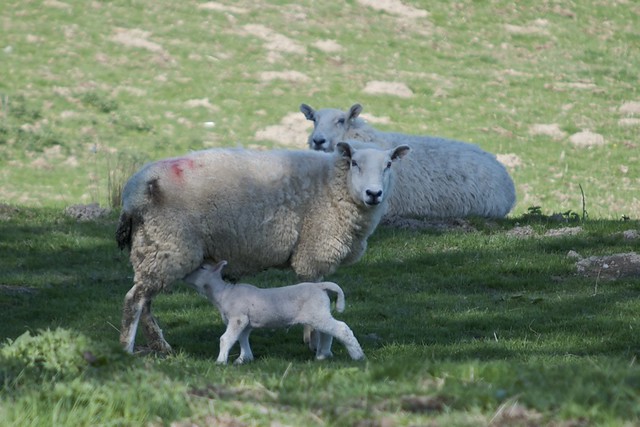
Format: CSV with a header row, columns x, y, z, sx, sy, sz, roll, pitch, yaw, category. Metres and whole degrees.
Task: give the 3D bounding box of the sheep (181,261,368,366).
x,y,z,sx,sy,sz,roll,pitch,yaw,category
-1.401,2.796,32.875,5.230,2.774,1.176,0,-1,9,sheep
